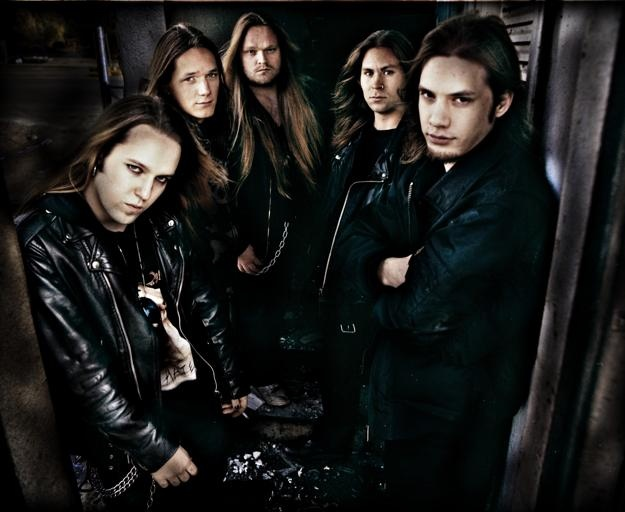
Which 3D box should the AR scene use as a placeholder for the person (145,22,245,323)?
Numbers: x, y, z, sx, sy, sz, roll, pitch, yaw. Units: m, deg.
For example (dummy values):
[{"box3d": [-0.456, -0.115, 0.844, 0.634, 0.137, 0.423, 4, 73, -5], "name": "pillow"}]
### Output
[{"box3d": [-0.567, -0.478, 2.800, 0.375, 1.168, 0.088, -2, 15, -1], "name": "person"}]
